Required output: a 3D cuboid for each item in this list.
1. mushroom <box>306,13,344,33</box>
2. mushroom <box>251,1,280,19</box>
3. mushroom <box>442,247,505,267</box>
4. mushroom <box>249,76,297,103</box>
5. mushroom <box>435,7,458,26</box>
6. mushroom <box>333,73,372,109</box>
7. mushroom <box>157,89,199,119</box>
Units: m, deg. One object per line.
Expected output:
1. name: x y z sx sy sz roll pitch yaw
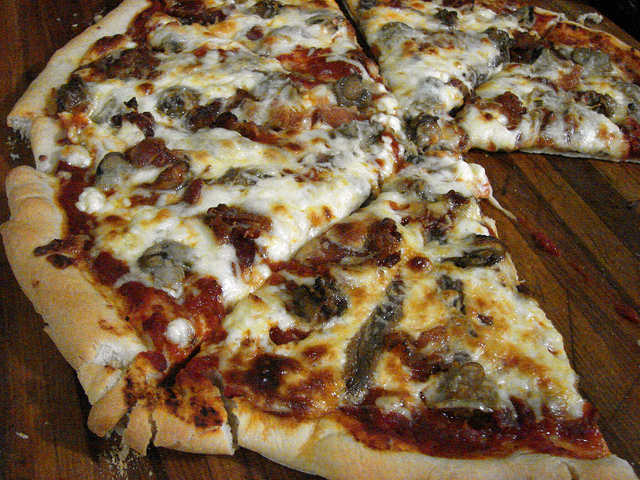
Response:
1. mushroom: 0.035 -1.810 5.676 0.321 0.061 0.173 3 48 -2
2. mushroom: -0.458 -1.936 5.672 0.164 0.071 0.180 -28 60 -16
3. mushroom: 0.944 0.111 4.156 0.291 0.043 0.140 -7 33 1
4. mushroom: -0.343 -1.105 4.959 0.276 0.064 0.249 -22 45 -29
5. mushroom: 1.105 -1.974 5.974 0.202 0.111 0.247 6 57 5
6. mushroom: 0.230 -1.089 5.034 0.317 0.079 0.259 -27 93 -13
7. mushroom: -1.015 -0.984 4.842 0.246 0.089 0.256 16 58 11
